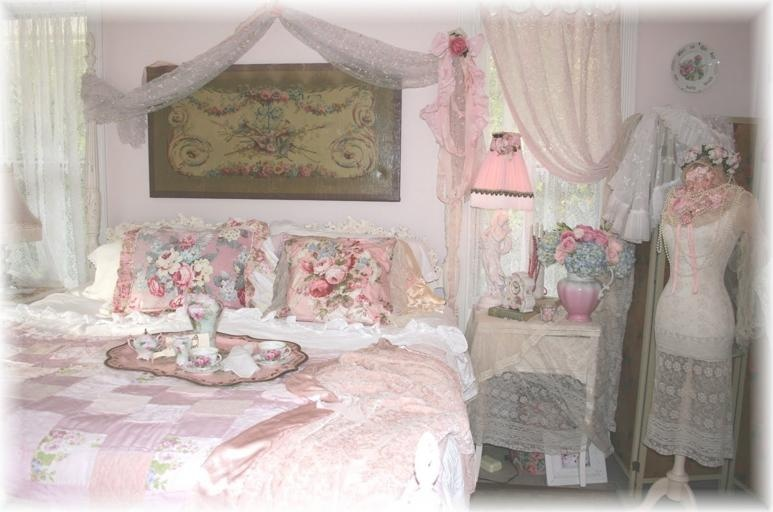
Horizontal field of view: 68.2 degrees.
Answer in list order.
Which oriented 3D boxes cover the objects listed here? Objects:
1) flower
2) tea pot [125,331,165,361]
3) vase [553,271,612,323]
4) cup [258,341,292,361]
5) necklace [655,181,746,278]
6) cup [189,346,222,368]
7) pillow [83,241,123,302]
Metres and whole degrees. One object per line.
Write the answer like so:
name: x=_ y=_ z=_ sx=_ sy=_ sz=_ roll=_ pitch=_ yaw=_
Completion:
flower: x=1.239 y=-0.028 z=3.687 sx=0.512 sy=0.334 sz=0.135 roll=2 pitch=3 yaw=14
tea pot: x=-1.300 y=0.495 z=3.094 sx=0.148 sy=0.161 sz=0.074 roll=-1 pitch=-22 yaw=-3
vase: x=1.298 y=0.272 z=3.732 sx=0.342 sy=0.311 sz=0.161 roll=1 pitch=2 yaw=-15
cup: x=-0.599 y=0.506 z=3.046 sx=0.132 sy=0.054 sz=0.101 roll=1 pitch=3 yaw=-7
necklace: x=1.840 y=-0.137 z=3.350 sx=0.461 sy=0.596 sz=0.186 roll=2 pitch=3 yaw=22
cup: x=-0.926 y=0.518 z=2.937 sx=0.109 sy=0.073 sz=0.125 roll=-3 pitch=-7 yaw=38
pillow: x=-1.976 y=0.116 z=4.056 sx=0.374 sy=0.399 sz=0.125 roll=8 pitch=-2 yaw=21
